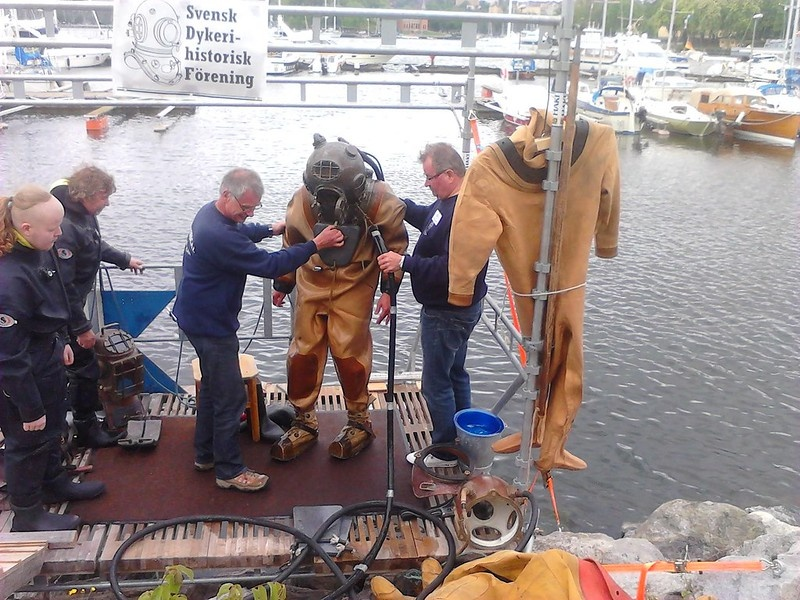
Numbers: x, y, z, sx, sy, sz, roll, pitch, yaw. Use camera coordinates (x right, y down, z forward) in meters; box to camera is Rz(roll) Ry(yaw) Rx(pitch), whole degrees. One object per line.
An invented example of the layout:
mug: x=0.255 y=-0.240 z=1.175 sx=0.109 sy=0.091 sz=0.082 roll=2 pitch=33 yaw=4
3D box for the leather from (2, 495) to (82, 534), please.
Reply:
leather: x=-2.241 y=1.370 z=4.744 sx=0.501 sy=0.241 sz=0.169 roll=-1 pitch=13 yaw=-17

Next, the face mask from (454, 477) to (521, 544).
face mask: x=0.549 y=1.388 z=4.902 sx=0.426 sy=0.393 sz=0.426 roll=2 pitch=37 yaw=-1

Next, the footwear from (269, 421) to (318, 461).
footwear: x=-0.778 y=1.039 z=5.557 sx=0.178 sy=0.170 sz=0.434 roll=8 pitch=14 yaw=23

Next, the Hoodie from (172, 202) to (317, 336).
Hoodie: x=-1.178 y=-0.121 z=4.990 sx=0.860 sy=0.690 sz=0.903 roll=-9 pitch=-5 yaw=-5

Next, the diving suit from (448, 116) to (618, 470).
diving suit: x=0.862 y=0.028 z=4.965 sx=1.028 sy=2.527 sz=0.844 roll=8 pitch=23 yaw=14

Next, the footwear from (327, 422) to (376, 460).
footwear: x=-0.370 y=1.007 z=5.632 sx=0.272 sy=0.191 sz=0.449 roll=11 pitch=25 yaw=29
